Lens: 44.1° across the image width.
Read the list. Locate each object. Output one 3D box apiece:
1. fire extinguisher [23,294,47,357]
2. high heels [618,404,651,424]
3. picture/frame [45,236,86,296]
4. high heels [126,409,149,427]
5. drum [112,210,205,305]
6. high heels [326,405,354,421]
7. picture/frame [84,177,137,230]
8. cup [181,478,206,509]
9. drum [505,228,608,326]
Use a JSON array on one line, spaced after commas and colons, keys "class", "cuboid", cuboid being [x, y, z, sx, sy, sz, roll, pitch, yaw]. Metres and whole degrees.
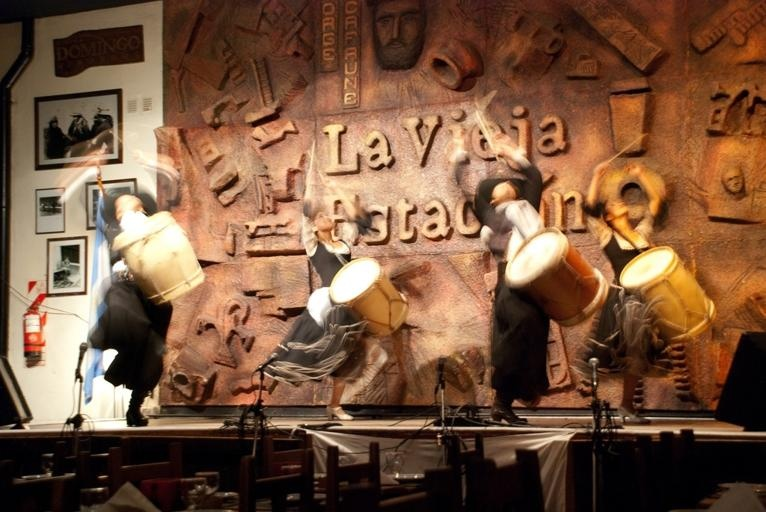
[{"class": "fire extinguisher", "cuboid": [-4.072, 0.856, 11.098, 0.214, 0.841, 0.136, 3, -5, -43]}, {"class": "high heels", "cuboid": [2.341, 1.508, 8.962, 0.354, 0.137, 0.115, -2, 0, 7]}, {"class": "picture/frame", "cuboid": [-3.714, 0.141, 11.139, 0.729, 0.894, 0.045, -3, -8, 8]}, {"class": "high heels", "cuboid": [-2.446, 1.614, 9.417, 0.215, 0.186, 0.126, 0, -1, -16]}, {"class": "drum", "cuboid": [-2.191, 0.017, 9.687, 0.961, 0.883, 0.765, -25, 6, -11]}, {"class": "high heels", "cuboid": [-0.419, 1.598, 9.563, 0.291, 0.116, 0.115, -1, -6, 7]}, {"class": "picture/frame", "cuboid": [-3.153, -0.593, 11.011, 0.755, 0.578, 0.032, -1, 0, 24]}, {"class": "cup", "cuboid": [-1.324, 1.661, 6.627, 0.172, 0.197, 0.077, 1, -4, -18]}, {"class": "drum", "cuboid": [1.547, 0.219, 8.598, 0.702, 0.636, 0.661, 37, 2, -19]}]
